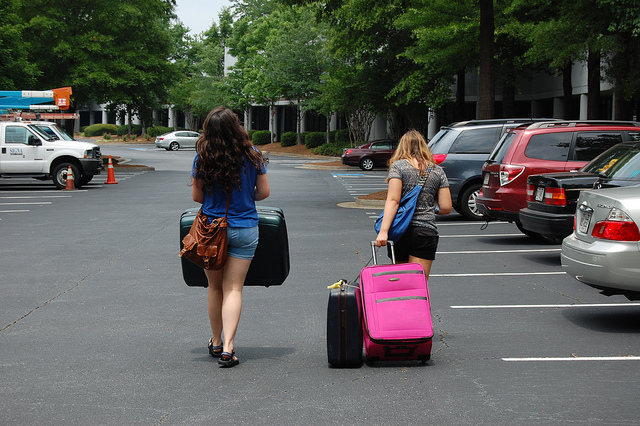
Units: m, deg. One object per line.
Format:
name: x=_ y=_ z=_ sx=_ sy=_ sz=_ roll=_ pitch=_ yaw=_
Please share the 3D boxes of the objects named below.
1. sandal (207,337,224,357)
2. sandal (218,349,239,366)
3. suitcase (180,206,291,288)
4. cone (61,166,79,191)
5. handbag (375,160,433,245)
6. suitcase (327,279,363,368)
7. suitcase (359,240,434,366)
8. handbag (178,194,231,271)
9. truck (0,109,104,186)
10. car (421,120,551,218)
sandal: x=-1.191 y=1.543 z=7.426 sx=0.110 sy=0.119 sz=0.300 roll=-1 pitch=9 yaw=-8
sandal: x=-0.983 y=1.586 z=7.098 sx=0.106 sy=0.113 sz=0.248 roll=2 pitch=2 yaw=13
suitcase: x=-0.843 y=0.461 z=7.843 sx=0.743 sy=0.981 sz=1.303 roll=1 pitch=-7 yaw=-7
cone: x=-9.568 y=-1.325 z=24.755 sx=0.471 sy=0.846 sz=0.644 roll=-4 pitch=11 yaw=-25
handbag: x=1.017 y=-0.119 z=7.505 sx=0.637 sy=0.963 sz=0.169 roll=-7 pitch=12 yaw=-36
suitcase: x=0.275 y=1.192 z=7.080 sx=0.384 sy=0.986 sz=0.370 roll=1 pitch=10 yaw=3
suitcase: x=0.780 y=0.895 z=7.228 sx=0.723 sy=0.503 sz=1.359 roll=-1 pitch=52 yaw=-5
handbag: x=-1.233 y=0.218 z=6.955 sx=0.501 sy=0.825 sz=0.281 roll=2 pitch=10 yaw=11
truck: x=-11.325 y=-2.758 z=25.980 sx=5.113 sy=2.721 sz=2.991 roll=-1 pitch=6 yaw=-3
car: x=4.610 y=-1.070 z=15.384 sx=4.012 sy=1.921 sz=2.168 roll=-4 pitch=6 yaw=-2
